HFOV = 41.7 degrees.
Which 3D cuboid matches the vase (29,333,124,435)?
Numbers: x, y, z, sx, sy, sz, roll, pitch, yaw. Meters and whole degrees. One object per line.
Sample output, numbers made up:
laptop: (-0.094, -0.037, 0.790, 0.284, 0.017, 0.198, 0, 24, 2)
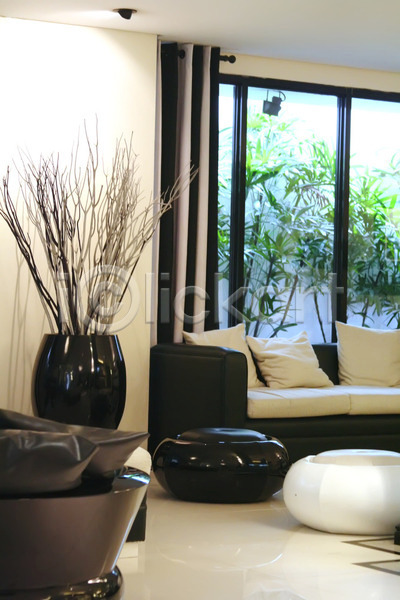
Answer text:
vase: (-0.616, 0.369, 2.728, 0.413, 0.566, 0.413, -12, 24, -43)
